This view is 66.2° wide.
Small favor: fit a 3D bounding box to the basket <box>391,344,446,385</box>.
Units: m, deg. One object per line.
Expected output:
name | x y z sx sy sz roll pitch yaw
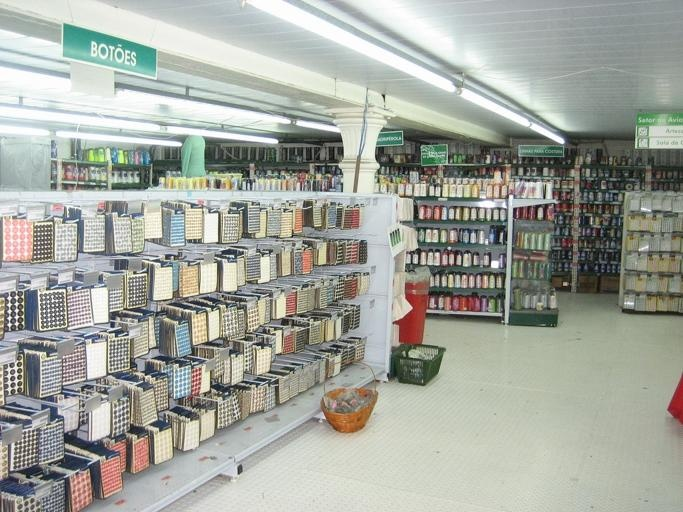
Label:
basket | 1.039 1.414 6.902 0.539 0.479 0.564 2 1 32
